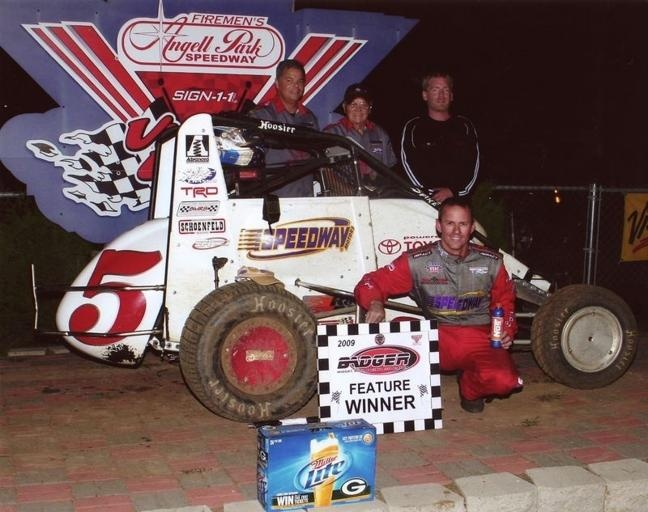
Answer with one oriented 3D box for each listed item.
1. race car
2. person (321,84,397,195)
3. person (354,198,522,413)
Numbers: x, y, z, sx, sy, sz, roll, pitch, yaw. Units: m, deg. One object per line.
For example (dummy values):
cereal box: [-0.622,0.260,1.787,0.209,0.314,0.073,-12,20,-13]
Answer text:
race car: [0.407,-0.024,6.101,5.621,1.858,2.593,-2,5,-13]
person: [0.452,-1.320,7.154,1.190,1.191,0.840,-6,14,-31]
person: [0.919,0.470,5.282,1.727,1.627,1.150,-2,9,19]
